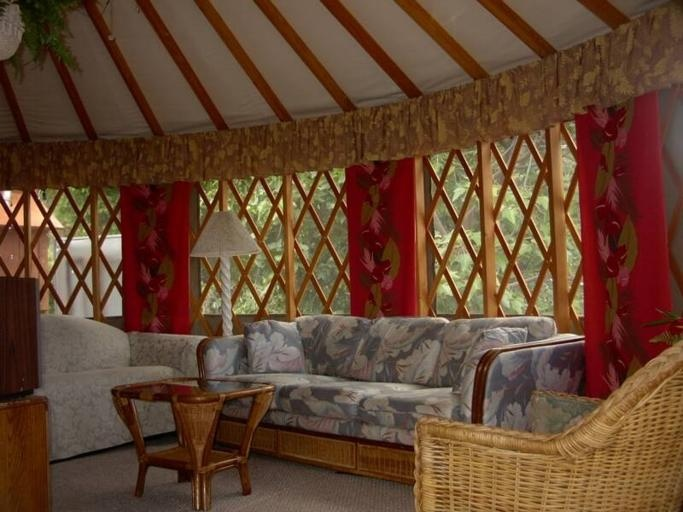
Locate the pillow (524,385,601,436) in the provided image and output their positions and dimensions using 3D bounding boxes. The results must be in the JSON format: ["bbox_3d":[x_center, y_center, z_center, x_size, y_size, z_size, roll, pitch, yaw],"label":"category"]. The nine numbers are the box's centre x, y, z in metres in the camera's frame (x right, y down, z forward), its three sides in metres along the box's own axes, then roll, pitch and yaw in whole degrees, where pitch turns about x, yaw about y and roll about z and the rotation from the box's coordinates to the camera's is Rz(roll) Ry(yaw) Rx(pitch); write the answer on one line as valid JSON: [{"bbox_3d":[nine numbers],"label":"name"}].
[{"bbox_3d":[0.782,0.561,2.676,0.188,0.184,0.071,-3,-29,37],"label":"pillow"}]

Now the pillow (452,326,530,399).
[{"bbox_3d":[0.658,0.478,3.430,0.424,0.168,0.424,13,-29,-34],"label":"pillow"}]
